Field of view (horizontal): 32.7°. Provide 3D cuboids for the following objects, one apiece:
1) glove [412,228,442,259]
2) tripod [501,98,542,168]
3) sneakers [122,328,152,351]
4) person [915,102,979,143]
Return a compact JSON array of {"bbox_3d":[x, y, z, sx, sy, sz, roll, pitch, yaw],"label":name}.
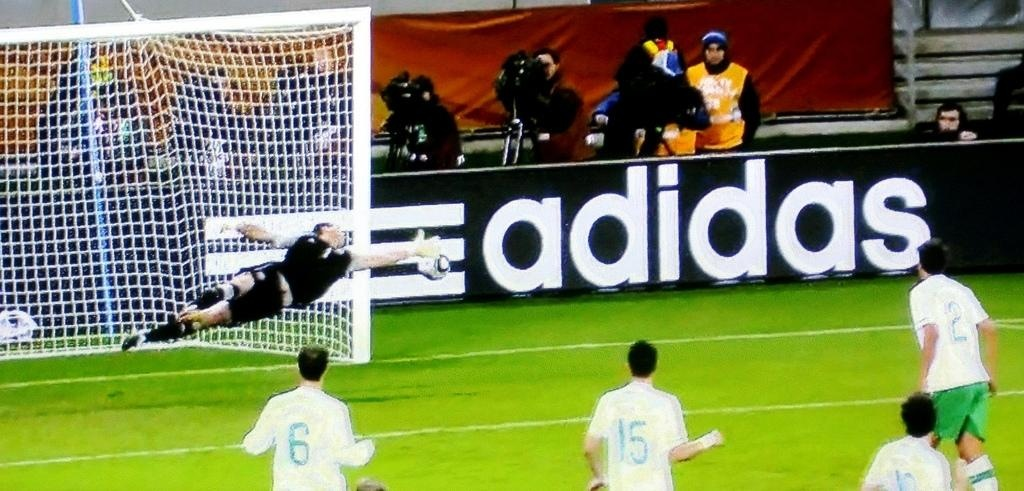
[{"bbox_3d":[-1.223,-0.048,25.254,0.362,0.402,0.346,-4,0,-4],"label":"glove"},{"bbox_3d":[0.089,-1.643,25.357,0.587,0.944,0.268,5,8,8],"label":"tripod"},{"bbox_3d":[-5.464,1.370,25.440,0.567,0.173,0.217,-28,-4,-8],"label":"sneakers"},{"bbox_3d":[6.311,-1.753,25.497,0.587,0.361,0.730,0,-8,13],"label":"person"}]
